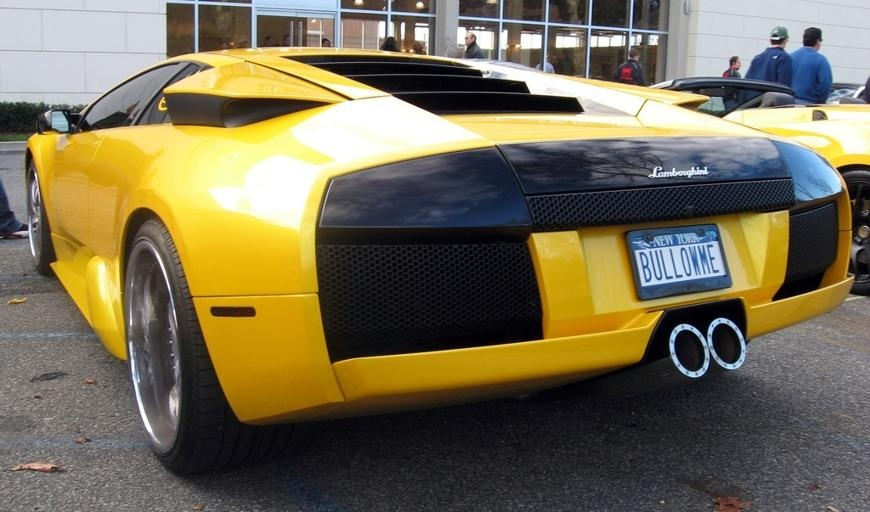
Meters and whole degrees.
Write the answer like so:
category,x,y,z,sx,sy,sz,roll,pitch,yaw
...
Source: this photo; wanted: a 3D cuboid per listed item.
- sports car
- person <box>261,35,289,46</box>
category,x,y,z,sx,sy,sz,roll,pitch,yaw
sports car,-0.793,-0.204,3.843,2.413,0.972,4.115,-6,14,-33
person,-4.618,-6.309,18.256,0.805,0.295,0.352,-5,16,-17
